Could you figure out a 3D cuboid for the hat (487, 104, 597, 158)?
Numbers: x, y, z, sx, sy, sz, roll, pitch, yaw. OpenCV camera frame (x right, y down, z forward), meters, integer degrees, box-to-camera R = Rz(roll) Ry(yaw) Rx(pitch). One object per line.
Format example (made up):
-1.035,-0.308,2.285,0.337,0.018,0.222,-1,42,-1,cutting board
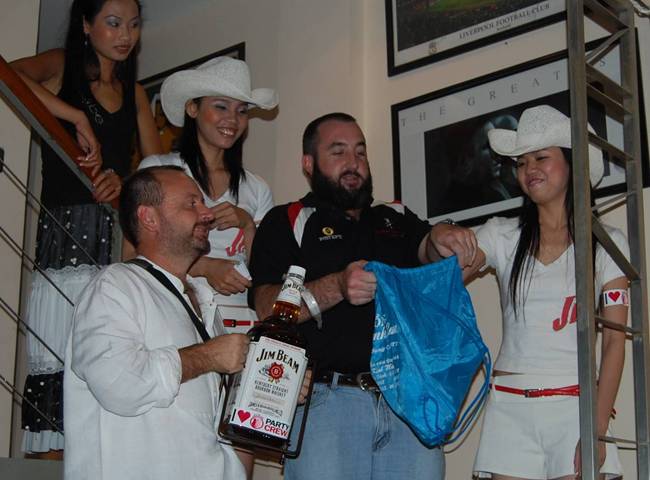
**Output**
0.948,-0.529,3.003,0.307,0.147,0.375,6,2,-8,hat

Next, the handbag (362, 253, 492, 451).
0.386,0.414,2.529,0.494,0.701,0.137,5,-18,-18,handbag

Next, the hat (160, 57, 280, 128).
-0.502,-0.821,3.394,0.640,0.287,0.725,14,22,43,hat
